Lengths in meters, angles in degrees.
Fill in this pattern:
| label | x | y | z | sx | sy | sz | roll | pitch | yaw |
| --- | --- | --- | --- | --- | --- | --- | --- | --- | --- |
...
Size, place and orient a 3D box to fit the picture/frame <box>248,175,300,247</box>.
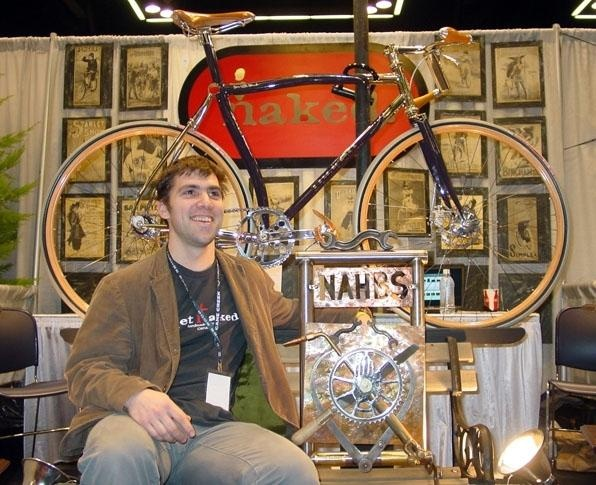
| label | x | y | z | sx | sy | sz | roll | pitch | yaw |
| --- | --- | --- | --- | --- | --- | --- | --- | --- | --- |
| picture/frame | -0.168 | -0.223 | 6.351 | 0.443 | 0.631 | 0.025 | -1 | 6 | 7 |
